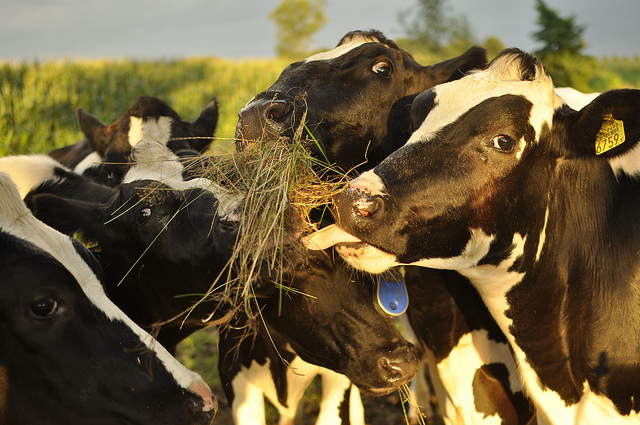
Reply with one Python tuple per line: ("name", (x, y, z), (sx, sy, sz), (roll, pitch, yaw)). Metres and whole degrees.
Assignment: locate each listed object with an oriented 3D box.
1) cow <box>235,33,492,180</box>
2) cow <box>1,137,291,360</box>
("cow", (0.242, -0.560, 7.598), (1.961, 1.041, 1.682), (-34, 3, -40))
("cow", (-1.459, 0.245, 7.673), (3.051, 1.851, 1.368), (16, 10, 32))
